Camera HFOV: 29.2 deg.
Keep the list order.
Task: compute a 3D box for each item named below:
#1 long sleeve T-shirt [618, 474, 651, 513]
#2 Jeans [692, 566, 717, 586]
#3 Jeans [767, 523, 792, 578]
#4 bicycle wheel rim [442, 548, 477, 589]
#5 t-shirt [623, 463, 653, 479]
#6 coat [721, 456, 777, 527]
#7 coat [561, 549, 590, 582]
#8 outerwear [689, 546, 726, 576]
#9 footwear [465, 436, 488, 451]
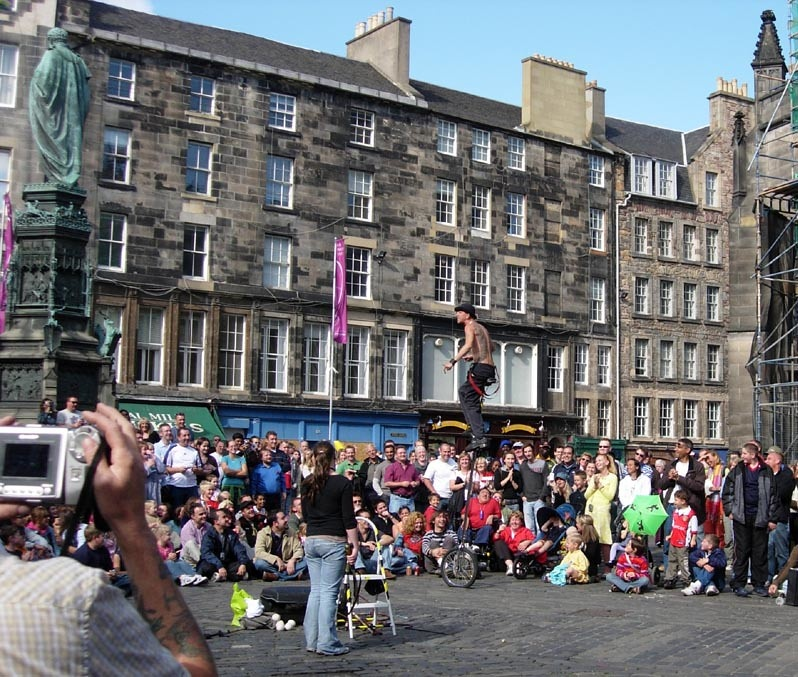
[{"bbox_3d":[4.612,3.104,30.397,0.417,0.691,0.615,29,-31,-26],"label":"long sleeve T-shirt"},{"bbox_3d":[5.610,4.463,28.588,0.385,0.335,0.152,2,-21,-13],"label":"Jeans"},{"bbox_3d":[6.981,3.994,28.581,0.383,1.066,0.561,0,-9,12],"label":"Jeans"},{"bbox_3d":[1.120,4.394,29.022,0.829,0.721,0.165,-11,-5,30],"label":"bicycle wheel rim"},{"bbox_3d":[4.824,2.756,31.440,0.420,0.180,0.488,4,-2,7],"label":"t-shirt"},{"bbox_3d":[6.424,2.863,28.373,1.511,1.475,0.862,-2,-10,20],"label":"coat"},{"bbox_3d":[3.374,4.466,29.853,0.601,0.611,0.422,-7,-13,41],"label":"coat"},{"bbox_3d":[5.740,4.223,28.793,0.645,0.549,0.540,5,-13,-7],"label":"outerwear"},{"bbox_3d":[1.431,2.013,28.954,0.529,0.240,0.184,-17,-14,-1],"label":"footwear"}]
